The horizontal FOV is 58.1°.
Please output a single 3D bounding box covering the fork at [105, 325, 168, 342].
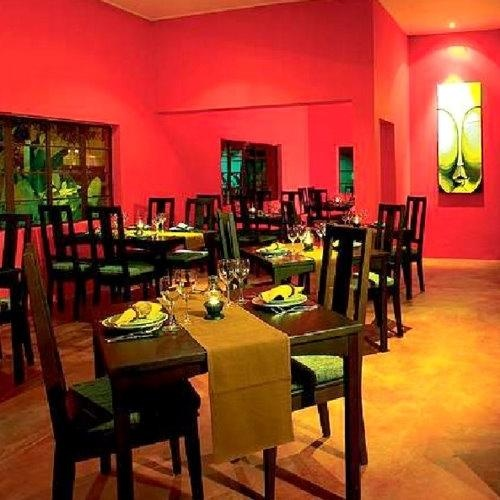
[{"bbox_3d":[-0.346,0.259,1.360,0.168,0.017,0.060,-9,41,0],"label":"fork"}]
